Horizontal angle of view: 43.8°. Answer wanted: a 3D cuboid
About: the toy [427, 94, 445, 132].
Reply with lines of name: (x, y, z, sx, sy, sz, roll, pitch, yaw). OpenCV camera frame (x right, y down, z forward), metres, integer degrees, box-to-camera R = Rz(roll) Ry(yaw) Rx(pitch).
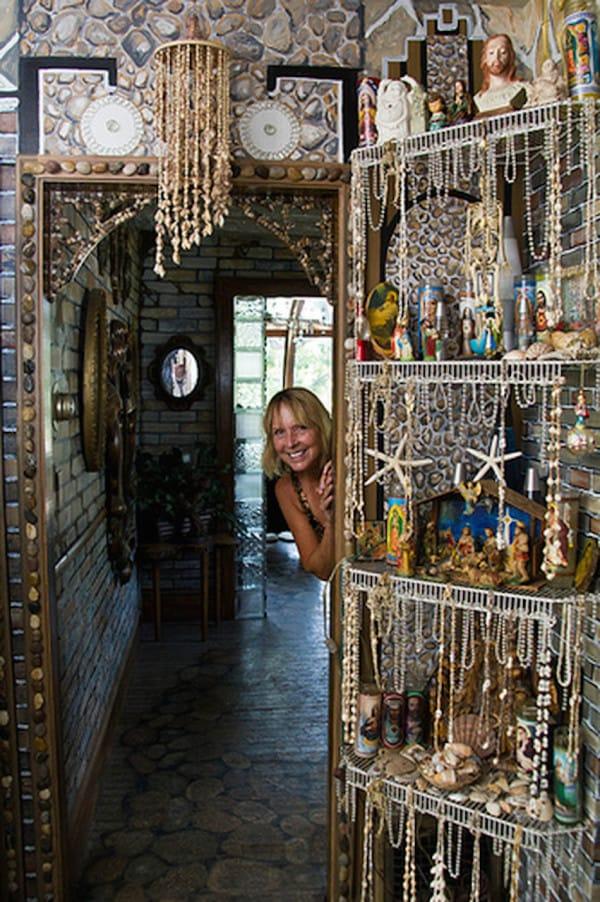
toy: (0.313, -0.754, 1.691, 0.039, 0.101, 0.089, 1, 4, 11)

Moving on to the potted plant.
potted plant: (-0.714, 0.340, 4.652, 0.307, 0.575, 0.579, 11, 16, 36)

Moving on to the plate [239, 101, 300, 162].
plate: (-0.074, -0.820, 1.930, 0.154, 0.007, 0.164, -4, -38, 0)

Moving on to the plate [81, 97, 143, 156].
plate: (-0.475, -0.827, 1.910, 0.170, 0.183, 0.009, -13, -26, -5)

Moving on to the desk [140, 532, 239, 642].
desk: (-0.686, 0.846, 4.778, 0.601, 0.642, 0.643, 0, 4, -10)

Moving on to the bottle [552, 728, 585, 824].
bottle: (0.560, 0.679, 1.561, 0.060, 0.179, 0.074, 2, 4, 21)

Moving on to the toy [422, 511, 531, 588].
toy: (0.412, 0.219, 1.736, 0.221, 0.146, 0.229, 2, 4, 10)

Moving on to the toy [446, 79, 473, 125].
toy: (0.362, -0.779, 1.687, 0.050, 0.123, 0.092, 1, 4, 0)

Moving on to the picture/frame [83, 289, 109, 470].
picture/frame: (-0.797, -0.268, 2.903, 0.091, 0.718, 0.425, 0, 4, -16)

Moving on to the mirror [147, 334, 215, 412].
mirror: (-0.794, -0.512, 4.950, 0.431, 0.540, 0.035, 0, -15, -7)
